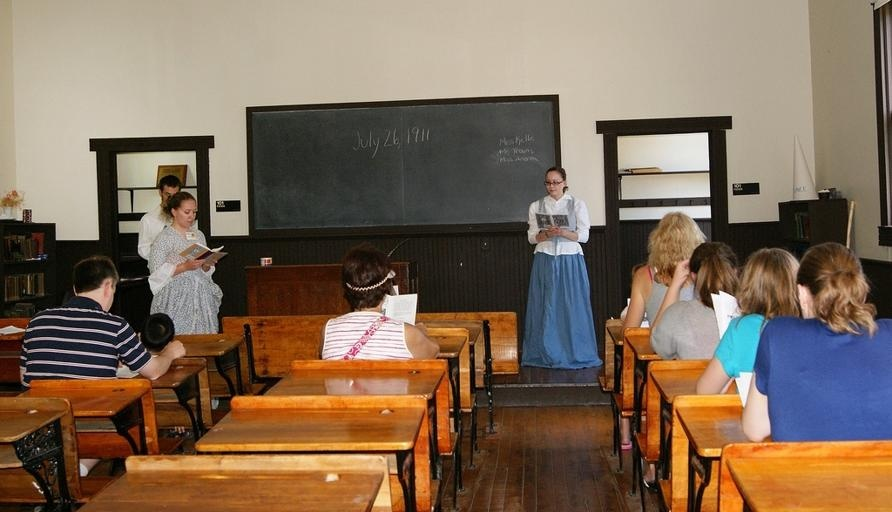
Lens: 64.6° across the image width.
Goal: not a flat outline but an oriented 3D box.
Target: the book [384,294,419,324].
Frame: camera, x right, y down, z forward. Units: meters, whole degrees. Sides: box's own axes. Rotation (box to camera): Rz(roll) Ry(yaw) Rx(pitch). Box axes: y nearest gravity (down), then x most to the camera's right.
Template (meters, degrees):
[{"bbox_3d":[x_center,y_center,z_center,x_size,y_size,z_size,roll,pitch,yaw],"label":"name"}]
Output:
[{"bbox_3d":[-0.295,0.353,4.830,0.232,0.193,0.055,-3,-2,8],"label":"book"}]

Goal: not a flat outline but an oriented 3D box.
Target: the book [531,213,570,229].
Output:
[{"bbox_3d":[1.083,-0.354,7.071,0.320,0.158,0.290,-2,7,5],"label":"book"}]

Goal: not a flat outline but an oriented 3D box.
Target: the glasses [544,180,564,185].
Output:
[{"bbox_3d":[1.120,-0.750,7.216,0.173,0.048,0.137,-1,7,11],"label":"glasses"}]

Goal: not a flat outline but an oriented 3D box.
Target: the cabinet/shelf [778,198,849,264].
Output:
[{"bbox_3d":[3.388,-0.258,6.411,0.380,0.596,0.675,1,-2,-13],"label":"cabinet/shelf"}]

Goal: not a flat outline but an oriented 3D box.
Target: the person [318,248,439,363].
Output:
[{"bbox_3d":[-0.420,0.273,4.715,0.835,0.774,0.678,1,7,9],"label":"person"}]

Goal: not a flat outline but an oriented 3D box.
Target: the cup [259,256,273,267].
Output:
[{"bbox_3d":[-1.917,0.058,7.498,0.125,0.083,0.095,4,-6,-36],"label":"cup"}]

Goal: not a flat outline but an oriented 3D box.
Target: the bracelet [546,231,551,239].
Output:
[{"bbox_3d":[1.041,-0.222,7.097,0.042,0.056,0.020,-2,41,11],"label":"bracelet"}]

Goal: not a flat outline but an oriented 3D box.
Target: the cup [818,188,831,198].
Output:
[{"bbox_3d":[4.025,-0.661,7.452,0.105,0.087,0.107,-2,-1,0],"label":"cup"}]
